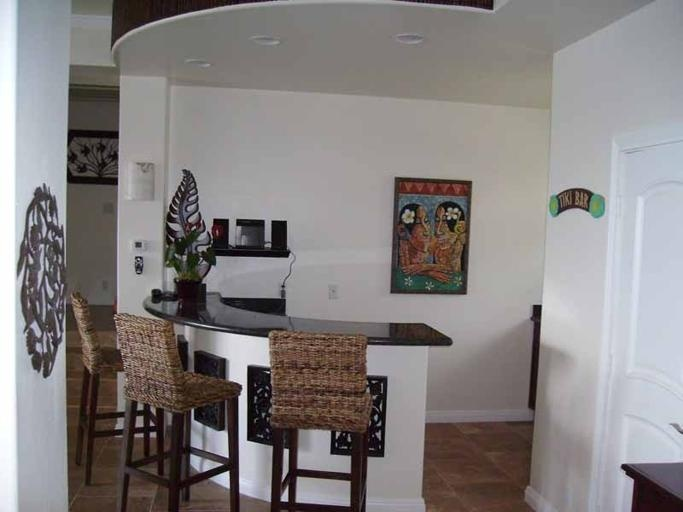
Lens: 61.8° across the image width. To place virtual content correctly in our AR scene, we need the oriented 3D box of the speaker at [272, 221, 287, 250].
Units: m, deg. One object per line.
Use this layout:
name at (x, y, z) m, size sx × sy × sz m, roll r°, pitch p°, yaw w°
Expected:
speaker at (-0.549, -0.177, 4.958) m, size 0.152 × 0.251 × 0.130 m, roll 3°, pitch 7°, yaw 7°

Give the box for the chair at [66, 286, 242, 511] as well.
chair at (-1.218, 0.993, 3.823) m, size 0.473 × 1.089 × 1.275 m, roll -2°, pitch 5°, yaw -40°
